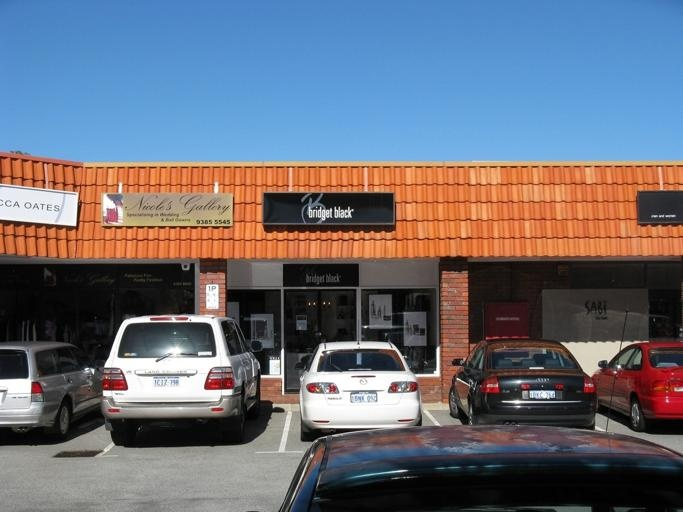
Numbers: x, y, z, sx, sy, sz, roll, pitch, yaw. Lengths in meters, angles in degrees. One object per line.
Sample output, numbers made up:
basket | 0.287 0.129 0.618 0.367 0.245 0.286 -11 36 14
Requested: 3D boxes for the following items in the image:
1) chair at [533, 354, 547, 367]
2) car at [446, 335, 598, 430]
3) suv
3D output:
chair | 3.573 1.886 12.534 0.215 0.148 0.203 -1 -12 6
car | 3.227 2.361 12.664 1.905 1.597 2.998 0 -4 -1
suv | -2.797 1.926 12.264 1.796 1.287 3.077 -1 -1 1
